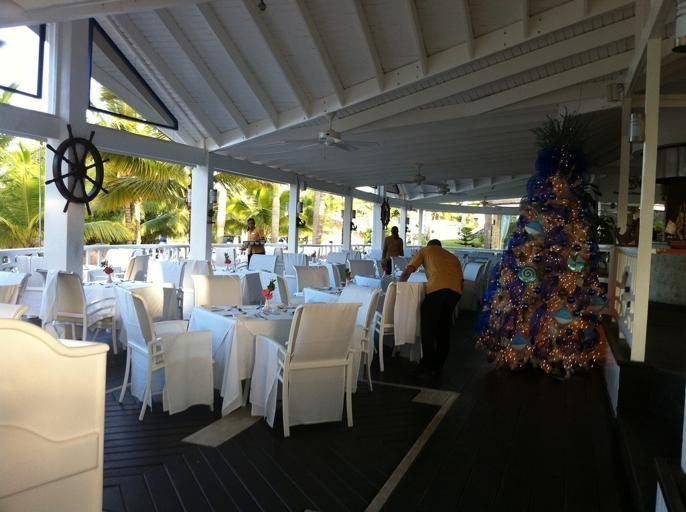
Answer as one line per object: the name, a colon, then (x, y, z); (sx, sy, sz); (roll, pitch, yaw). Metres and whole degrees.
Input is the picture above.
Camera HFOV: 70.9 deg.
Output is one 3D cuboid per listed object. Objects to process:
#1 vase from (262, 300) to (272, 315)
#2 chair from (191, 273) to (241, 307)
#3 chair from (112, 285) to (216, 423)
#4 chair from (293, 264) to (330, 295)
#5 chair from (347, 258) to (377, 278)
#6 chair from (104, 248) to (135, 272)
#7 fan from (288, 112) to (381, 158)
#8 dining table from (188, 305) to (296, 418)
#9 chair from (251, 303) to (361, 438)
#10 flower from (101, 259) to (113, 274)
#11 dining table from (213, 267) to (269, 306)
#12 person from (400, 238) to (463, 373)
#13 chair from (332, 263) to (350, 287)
vase: (-0.781, 0.532, 4.995); (0.111, 0.097, 0.169); (3, 2, -16)
chair: (-1.507, 0.438, 5.800); (0.387, 0.619, 0.418); (5, -7, -29)
chair: (-1.822, 0.790, 4.866); (0.933, 1.566, 1.026); (-1, 3, -28)
chair: (-0.402, 0.357, 7.223); (0.358, 0.557, 0.431); (1, -1, -27)
chair: (0.379, 0.232, 8.907); (0.347, 0.488, 0.321); (-1, -3, 45)
chair: (-4.071, 0.085, 8.817); (0.324, 0.351, 0.329); (10, -1, -26)
fan: (0.010, -2.064, 8.699); (0.971, 0.429, 0.970); (0, 3, -40)
dining table: (-1.002, 0.933, 4.695); (0.871, 0.563, 0.850); (4, -5, -34)
chair: (-0.316, 0.829, 4.530); (0.998, 1.476, 0.938); (-1, 5, -22)
flower: (-3.779, 0.177, 7.743); (0.178, 0.215, 0.197); (-1, -7, 4)
dining table: (-1.499, 0.497, 7.725); (0.731, 0.457, 0.802); (0, -2, -2)
person: (1.084, 0.588, 5.691); (0.650, 1.522, 0.544); (-5, 10, -31)
chair: (0.044, 0.354, 8.623); (0.324, 0.466, 0.310); (6, 2, 20)
